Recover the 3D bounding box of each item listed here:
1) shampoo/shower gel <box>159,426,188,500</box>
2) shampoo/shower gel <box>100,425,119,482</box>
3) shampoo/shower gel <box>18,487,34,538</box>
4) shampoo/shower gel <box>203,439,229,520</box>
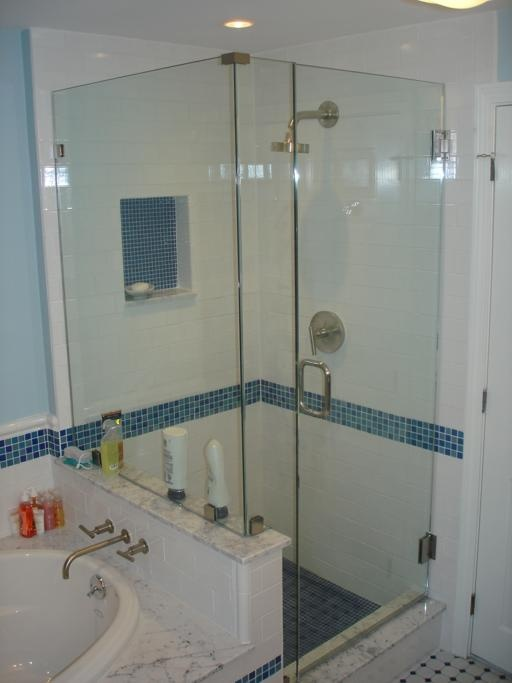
[{"bbox_3d":[-0.245,0.387,1.782,0.044,0.252,0.153,-4,4,-41],"label":"shampoo/shower gel"},{"bbox_3d":[-0.544,0.394,2.106,0.067,0.179,0.075,-1,3,32],"label":"shampoo/shower gel"},{"bbox_3d":[-0.905,0.674,2.223,0.057,0.155,0.060,-5,7,-23],"label":"shampoo/shower gel"},{"bbox_3d":[-0.108,0.387,1.627,0.060,0.222,0.064,-7,9,-29],"label":"shampoo/shower gel"}]
